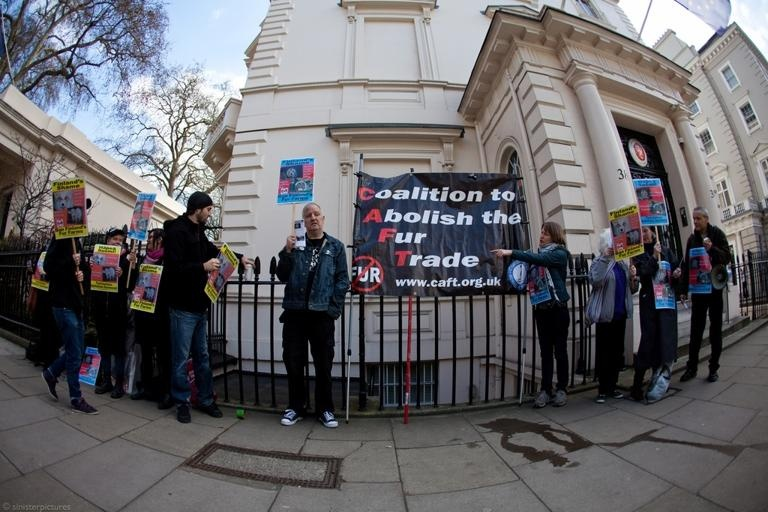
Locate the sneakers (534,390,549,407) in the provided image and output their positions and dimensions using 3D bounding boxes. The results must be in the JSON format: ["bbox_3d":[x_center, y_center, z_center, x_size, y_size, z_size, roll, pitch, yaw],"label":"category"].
[{"bbox_3d":[2.610,2.348,6.194,0.139,0.163,0.347,-10,-14,38],"label":"sneakers"}]

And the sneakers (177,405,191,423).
[{"bbox_3d":[-3.009,2.340,5.659,0.200,0.227,0.283,-4,14,-29],"label":"sneakers"}]

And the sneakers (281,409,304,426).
[{"bbox_3d":[-1.424,2.459,5.809,0.307,0.188,0.226,3,13,-2],"label":"sneakers"}]

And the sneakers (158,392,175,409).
[{"bbox_3d":[-3.468,2.302,5.979,0.138,0.164,0.376,0,-11,-3],"label":"sneakers"}]

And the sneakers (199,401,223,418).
[{"bbox_3d":[-2.729,2.372,5.984,0.489,0.195,0.168,6,-1,21],"label":"sneakers"}]

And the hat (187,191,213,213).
[{"bbox_3d":[-2.913,-0.854,5.926,0.406,0.366,0.395,-3,3,-28],"label":"hat"}]

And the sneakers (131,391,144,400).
[{"bbox_3d":[-4.097,2.302,6.290,0.115,0.095,0.226,11,-7,0],"label":"sneakers"}]

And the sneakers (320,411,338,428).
[{"bbox_3d":[-0.824,2.480,5.740,0.136,0.134,0.328,0,5,-25],"label":"sneakers"}]

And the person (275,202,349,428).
[{"bbox_3d":[-1.102,0.954,5.876,1.082,3.410,1.048,2,11,-6],"label":"person"}]

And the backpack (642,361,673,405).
[{"bbox_3d":[4.426,2.008,6.032,0.537,0.532,0.206,-7,15,-39],"label":"backpack"}]

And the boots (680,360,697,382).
[{"bbox_3d":[5.408,1.998,6.558,0.518,0.356,0.174,3,-6,-33],"label":"boots"}]

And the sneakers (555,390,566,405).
[{"bbox_3d":[2.898,2.314,6.161,0.143,0.100,0.252,-15,2,21],"label":"sneakers"}]
